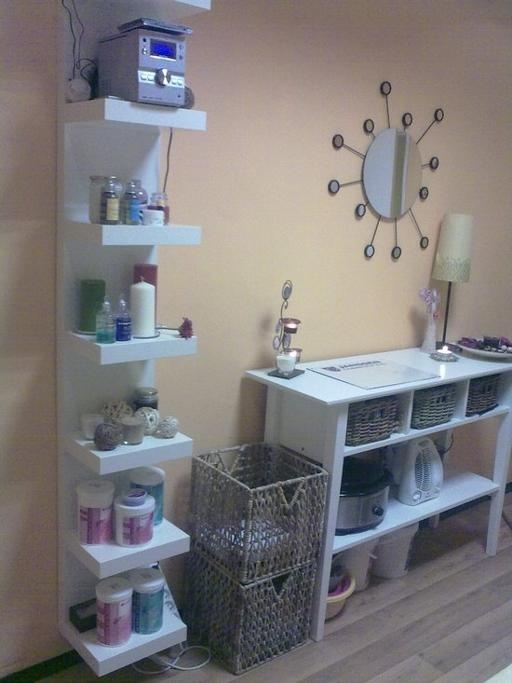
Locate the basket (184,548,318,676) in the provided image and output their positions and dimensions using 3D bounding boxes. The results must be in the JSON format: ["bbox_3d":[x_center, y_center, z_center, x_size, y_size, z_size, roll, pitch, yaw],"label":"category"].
[{"bbox_3d":[-0.038,0.843,2.070,0.283,0.405,0.325,10,9,42],"label":"basket"}]

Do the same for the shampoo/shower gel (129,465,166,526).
[{"bbox_3d":[-0.309,0.422,1.790,0.083,0.168,0.084,-8,19,-38],"label":"shampoo/shower gel"}]

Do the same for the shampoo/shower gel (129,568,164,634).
[{"bbox_3d":[-0.308,0.713,1.773,0.084,0.156,0.073,17,15,41],"label":"shampoo/shower gel"}]

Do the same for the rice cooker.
[{"bbox_3d":[0.366,0.541,2.262,0.171,0.217,0.190,-2,14,-24],"label":"rice cooker"}]

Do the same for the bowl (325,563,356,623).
[{"bbox_3d":[0.304,0.888,2.276,0.089,0.138,0.267,7,10,10],"label":"bowl"}]

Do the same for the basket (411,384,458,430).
[{"bbox_3d":[0.672,0.242,2.376,0.176,0.163,0.143,-7,14,-45],"label":"basket"}]

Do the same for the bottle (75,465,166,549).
[{"bbox_3d":[-0.369,0.424,1.679,0.159,0.196,0.139,-9,20,-44],"label":"bottle"}]

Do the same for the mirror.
[{"bbox_3d":[0.552,-0.676,2.581,0.082,0.364,0.374,14,13,36],"label":"mirror"}]

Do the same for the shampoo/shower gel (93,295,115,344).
[{"bbox_3d":[-0.362,-0.047,1.523,0.047,0.089,0.093,3,11,-14],"label":"shampoo/shower gel"}]

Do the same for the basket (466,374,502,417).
[{"bbox_3d":[0.948,0.223,2.622,0.151,0.102,0.192,2,4,37],"label":"basket"}]

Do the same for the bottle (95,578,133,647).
[{"bbox_3d":[-0.377,0.721,1.692,0.058,0.147,0.088,-5,13,-38],"label":"bottle"}]

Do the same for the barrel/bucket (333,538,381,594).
[{"bbox_3d":[0.384,0.824,2.424,0.163,0.203,0.201,8,9,24],"label":"barrel/bucket"}]

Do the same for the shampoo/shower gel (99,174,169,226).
[{"bbox_3d":[-0.300,-0.338,1.526,0.067,0.112,0.199,10,12,42],"label":"shampoo/shower gel"}]

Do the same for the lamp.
[{"bbox_3d":[0.863,-0.263,2.851,0.165,0.617,0.576,9,11,17],"label":"lamp"}]
